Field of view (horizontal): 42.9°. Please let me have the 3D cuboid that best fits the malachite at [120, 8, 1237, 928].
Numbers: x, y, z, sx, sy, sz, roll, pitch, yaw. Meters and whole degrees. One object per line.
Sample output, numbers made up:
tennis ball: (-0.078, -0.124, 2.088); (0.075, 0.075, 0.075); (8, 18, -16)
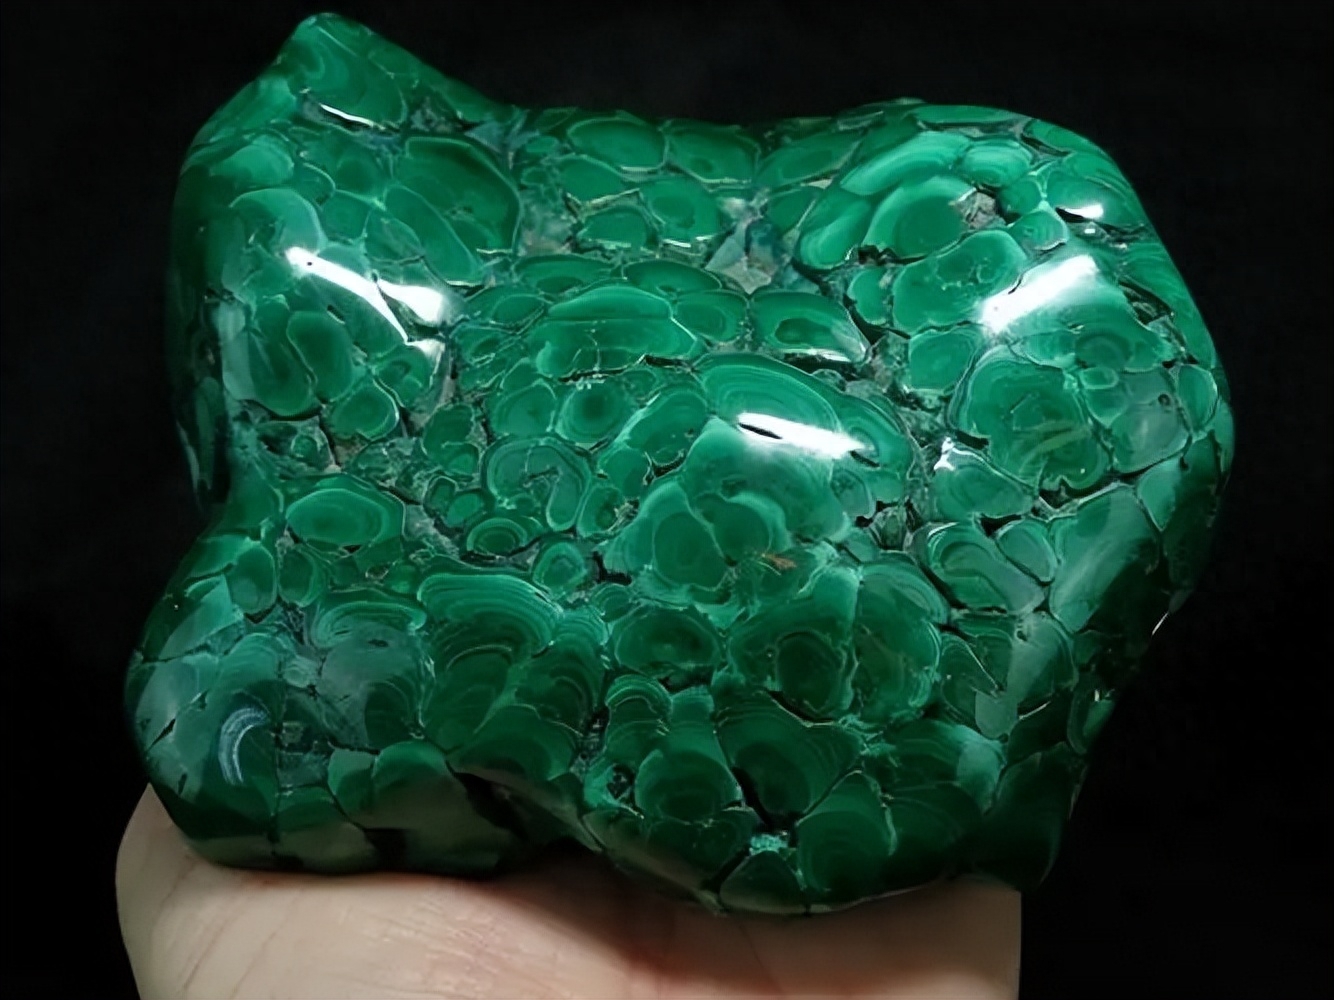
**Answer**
malachite: (-0.017, -0.022, 1.502); (0.955, 0.459, 0.731); (12, 47, 14)
